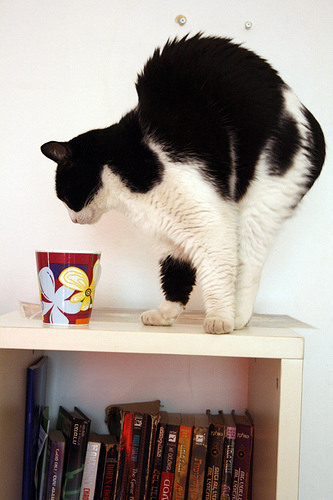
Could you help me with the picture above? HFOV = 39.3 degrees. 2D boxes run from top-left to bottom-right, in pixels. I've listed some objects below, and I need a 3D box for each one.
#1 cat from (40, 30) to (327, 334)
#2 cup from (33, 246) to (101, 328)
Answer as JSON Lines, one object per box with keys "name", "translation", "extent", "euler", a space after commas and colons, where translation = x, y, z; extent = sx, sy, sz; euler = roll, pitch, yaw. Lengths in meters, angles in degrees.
{"name": "cat", "translation": [0.005, -0.136, 0.810], "extent": [0.499, 0.486, 0.236], "euler": [8, 9, 15]}
{"name": "cup", "translation": [-0.160, 0.061, 0.750], "extent": [0.098, 0.133, 0.089], "euler": [4, 9, -13]}
